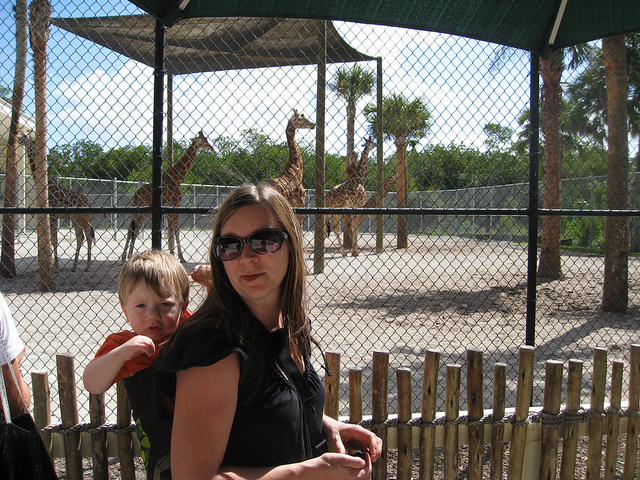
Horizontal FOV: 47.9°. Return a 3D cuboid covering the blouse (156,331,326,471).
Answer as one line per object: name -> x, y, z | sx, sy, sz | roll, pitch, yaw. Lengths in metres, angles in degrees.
blouse -> -0.433, 0.963, 4.119 | 0.578, 1.112, 1.035 | -7, -7, 34

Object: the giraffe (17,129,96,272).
giraffe -> -4.005, -0.488, 10.885 | 0.732, 3.034, 0.746 | 7, 7, 30

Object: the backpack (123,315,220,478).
backpack -> -0.805, 0.996, 4.196 | 0.368, 1.212, 0.669 | 1, 1, 30
